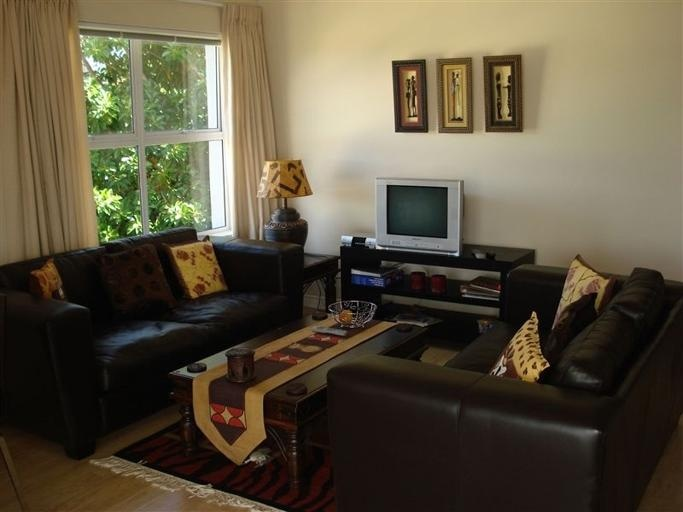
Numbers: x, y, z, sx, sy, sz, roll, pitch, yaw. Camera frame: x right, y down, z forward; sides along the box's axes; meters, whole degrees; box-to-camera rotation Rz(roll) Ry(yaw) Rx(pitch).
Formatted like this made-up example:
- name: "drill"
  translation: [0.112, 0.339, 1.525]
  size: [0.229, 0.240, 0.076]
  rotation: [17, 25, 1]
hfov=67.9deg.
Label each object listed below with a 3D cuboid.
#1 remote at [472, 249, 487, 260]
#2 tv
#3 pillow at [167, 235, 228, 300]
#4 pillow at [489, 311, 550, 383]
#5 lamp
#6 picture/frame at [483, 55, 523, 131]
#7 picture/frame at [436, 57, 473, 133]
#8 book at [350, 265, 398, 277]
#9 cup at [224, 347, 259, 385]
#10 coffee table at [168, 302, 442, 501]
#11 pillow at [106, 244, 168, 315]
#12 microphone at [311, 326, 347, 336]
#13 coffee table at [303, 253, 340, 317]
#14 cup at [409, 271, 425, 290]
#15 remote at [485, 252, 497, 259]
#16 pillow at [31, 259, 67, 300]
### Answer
- name: "remote"
  translation: [1.147, -0.019, 4.211]
  size: [0.069, 0.037, 0.109]
  rotation: [-3, 15, -6]
- name: "tv"
  translation: [0.789, -0.370, 4.559]
  size: [0.843, 0.640, 0.441]
  rotation: [8, 12, 40]
- name: "pillow"
  translation: [-1.171, 0.104, 4.136]
  size: [0.137, 0.425, 0.468]
  rotation: [-22, -3, 35]
- name: "pillow"
  translation: [0.733, 0.399, 2.117]
  size: [0.155, 0.143, 0.348]
  rotation: [12, 28, 14]
- name: "lamp"
  translation: [-0.533, -0.449, 4.972]
  size: [0.549, 0.933, 0.499]
  rotation: [-5, 8, -13]
- name: "picture/frame"
  translation: [1.360, -1.364, 4.274]
  size: [0.358, 0.606, 0.051]
  rotation: [-8, 11, -16]
- name: "picture/frame"
  translation: [1.003, -1.413, 4.451]
  size: [0.050, 0.624, 0.361]
  rotation: [-25, 28, -37]
- name: "book"
  translation: [0.344, 0.124, 4.698]
  size: [0.192, 0.043, 0.185]
  rotation: [5, 13, 36]
- name: "cup"
  translation: [-0.535, 0.566, 2.687]
  size: [0.167, 0.137, 0.160]
  rotation: [0, 7, 0]
- name: "coffee table"
  translation: [-0.411, 0.583, 2.776]
  size: [0.795, 0.456, 1.250]
  rotation: [7, 15, 28]
- name: "pillow"
  translation: [-1.477, 0.171, 3.665]
  size: [0.136, 0.441, 0.458]
  rotation: [-30, -6, 42]
- name: "microphone"
  translation: [-0.066, 0.481, 3.289]
  size: [0.144, 0.023, 0.077]
  rotation: [4, 10, 16]
- name: "coffee table"
  translation: [-0.217, 0.319, 5.063]
  size: [0.495, 0.536, 0.597]
  rotation: [-7, 0, -5]
- name: "cup"
  translation: [0.686, 0.200, 4.556]
  size: [0.143, 0.122, 0.139]
  rotation: [0, 17, 0]
- name: "remote"
  translation: [1.240, -0.005, 4.187]
  size: [0.056, 0.058, 0.067]
  rotation: [6, -12, -19]
- name: "pillow"
  translation: [-1.863, 0.149, 3.221]
  size: [0.080, 0.209, 0.219]
  rotation: [-10, 16, 9]
